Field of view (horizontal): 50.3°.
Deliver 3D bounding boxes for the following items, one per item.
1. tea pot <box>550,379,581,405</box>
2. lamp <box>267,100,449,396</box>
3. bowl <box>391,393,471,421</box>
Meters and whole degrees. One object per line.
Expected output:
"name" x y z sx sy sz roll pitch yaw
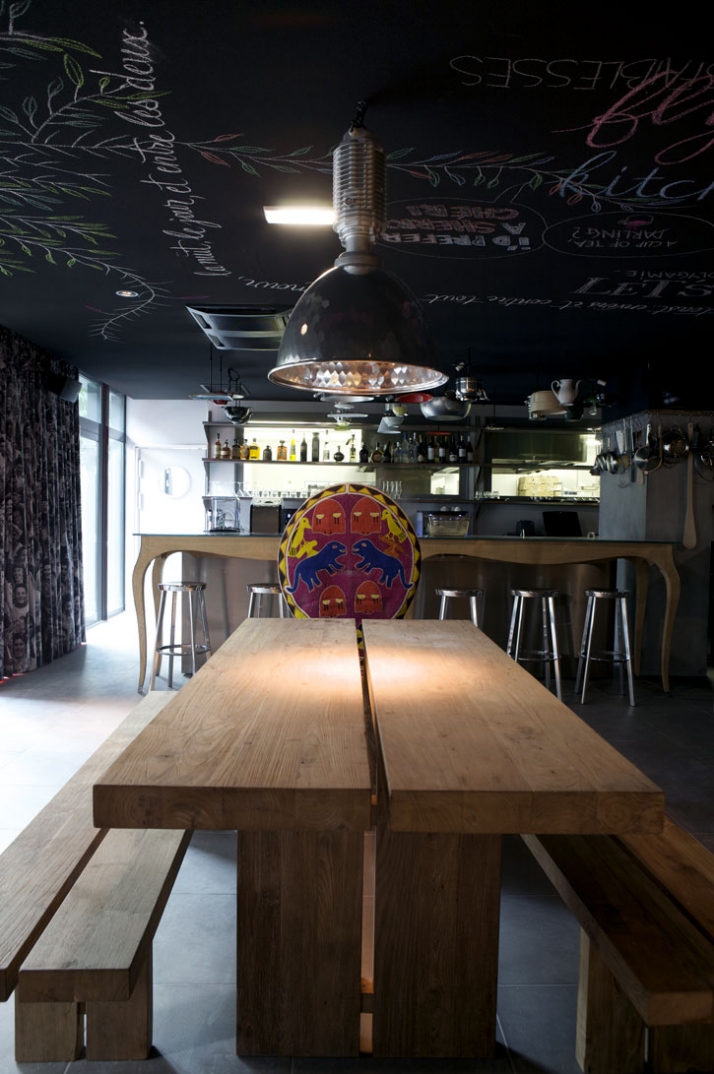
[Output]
"tea pot" 1.572 -1.115 5.820 0.262 0.248 0.169 -2 8 1
"lamp" -0.006 -0.700 1.774 0.423 0.672 0.482 1 4 6
"bowl" 0.580 -1.019 6.106 0.366 0.147 0.645 2 -4 -22
